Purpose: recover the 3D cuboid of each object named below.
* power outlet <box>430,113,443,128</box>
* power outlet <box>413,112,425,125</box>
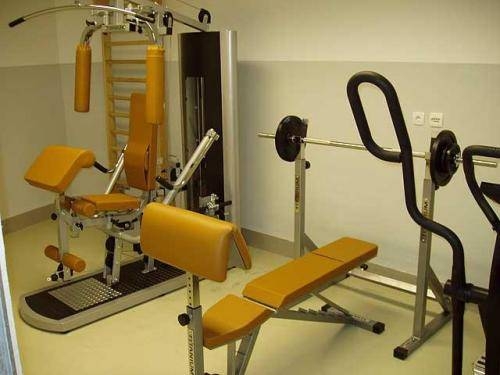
[{"bbox_3d":[1.358,-0.493,2.963,0.084,0.110,0.011,15,26,40],"label":"power outlet"},{"bbox_3d":[1.260,-0.517,3.040,0.010,0.098,0.075,-12,17,-43],"label":"power outlet"}]
